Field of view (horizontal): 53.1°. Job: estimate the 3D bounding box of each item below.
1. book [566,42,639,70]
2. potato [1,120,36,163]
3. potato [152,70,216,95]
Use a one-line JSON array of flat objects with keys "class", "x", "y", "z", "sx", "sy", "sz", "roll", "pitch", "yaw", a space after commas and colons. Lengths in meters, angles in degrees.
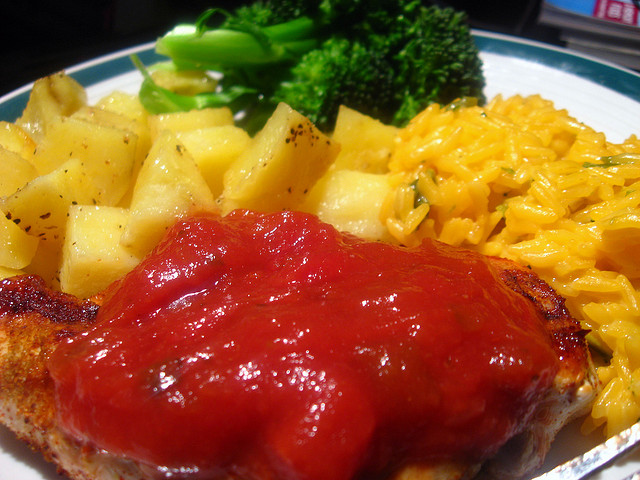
[{"class": "book", "x": 2.264, "y": -1.464, "z": 5.085, "sx": 0.651, "sy": 0.092, "sz": 0.096, "roll": 30, "pitch": 86, "yaw": 48}, {"class": "potato", "x": -1.811, "y": -0.608, "z": 3.844, "sx": 0.249, "sy": 0.068, "sz": 0.258, "roll": 53, "pitch": 20, "yaw": -5}, {"class": "potato", "x": -0.914, "y": -1.067, "z": 4.324, "sx": 0.404, "sy": 0.134, "sz": 0.145, "roll": -6, "pitch": 54, "yaw": -12}]
